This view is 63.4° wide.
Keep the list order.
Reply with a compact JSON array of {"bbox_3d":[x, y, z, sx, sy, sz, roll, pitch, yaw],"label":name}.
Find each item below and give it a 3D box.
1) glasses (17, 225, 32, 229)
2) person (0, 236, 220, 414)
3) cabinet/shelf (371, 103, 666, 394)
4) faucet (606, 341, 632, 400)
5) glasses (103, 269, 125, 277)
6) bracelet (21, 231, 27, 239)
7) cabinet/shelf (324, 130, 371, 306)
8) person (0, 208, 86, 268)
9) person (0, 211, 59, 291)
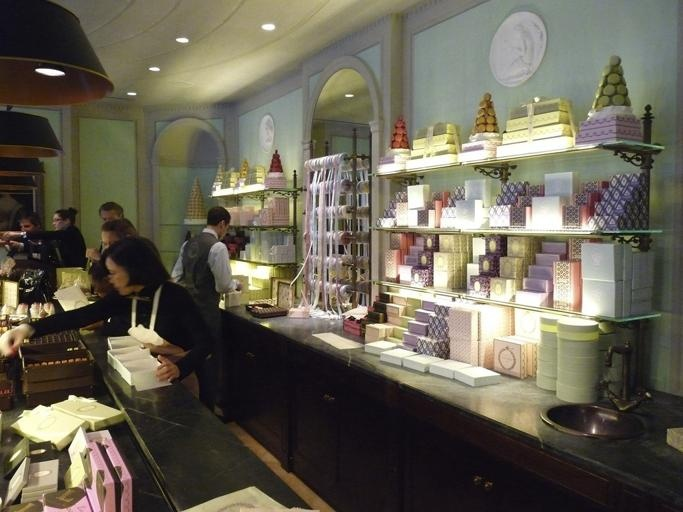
[{"bbox_3d":[-3.785,-0.352,6.561,0.068,0.036,0.079,-2,-10,-1],"label":"glasses"},{"bbox_3d":[-1.319,0.306,3.095,0.872,0.799,0.941,1,8,24],"label":"person"},{"bbox_3d":[1.082,-0.021,3.271,0.377,1.377,1.902,2,-1,-33],"label":"cabinet/shelf"},{"bbox_3d":[1.408,0.588,2.803,0.135,0.282,0.043,-6,-23,43],"label":"faucet"},{"bbox_3d":[-1.261,0.095,3.085,0.105,0.034,0.032,-1,7,13],"label":"glasses"},{"bbox_3d":[-3.514,-0.233,6.084,0.073,0.073,0.024,17,-1,34],"label":"bracelet"},{"bbox_3d":[-0.089,-0.301,4.745,0.498,1.332,0.164,2,1,28],"label":"cabinet/shelf"},{"bbox_3d":[-3.467,-0.228,6.469,0.980,0.958,0.650,-2,-3,-34],"label":"person"},{"bbox_3d":[-3.227,-0.049,5.673,0.367,0.490,0.958,-19,51,-15],"label":"person"}]
